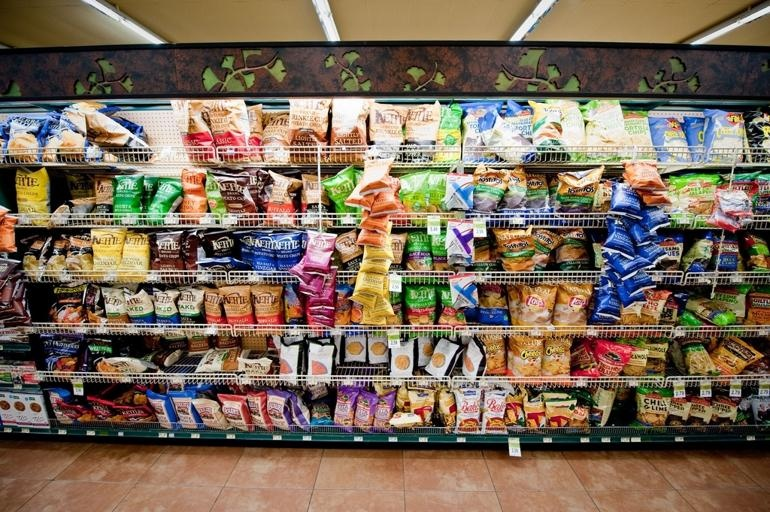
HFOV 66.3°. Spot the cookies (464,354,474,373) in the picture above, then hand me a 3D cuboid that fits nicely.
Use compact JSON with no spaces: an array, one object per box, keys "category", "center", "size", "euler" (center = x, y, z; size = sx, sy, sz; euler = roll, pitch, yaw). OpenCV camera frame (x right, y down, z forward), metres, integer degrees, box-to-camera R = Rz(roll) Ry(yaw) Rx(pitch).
[{"category":"cookies","center":[0.712,0.912,4.996],"size":[0.035,0.118,0.089],"euler":[4,-23,-41]}]
